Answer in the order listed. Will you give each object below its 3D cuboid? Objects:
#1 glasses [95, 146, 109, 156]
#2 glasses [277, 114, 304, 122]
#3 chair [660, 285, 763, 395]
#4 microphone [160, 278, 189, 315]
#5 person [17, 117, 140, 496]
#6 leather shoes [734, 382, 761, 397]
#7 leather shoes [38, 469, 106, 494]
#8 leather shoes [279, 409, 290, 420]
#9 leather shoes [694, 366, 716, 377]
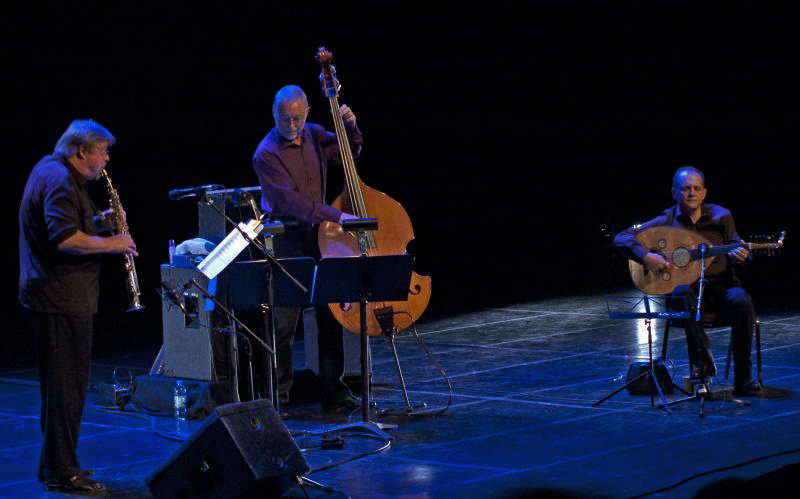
[{"bbox_3d":[-2.253,-0.744,6.624,0.064,0.060,0.019,10,19,-7],"label":"glasses"},{"bbox_3d":[-1.002,-1.183,7.933,0.257,0.043,0.126,-2,-1,0],"label":"glasses"},{"bbox_3d":[3.054,0.801,8.524,0.790,0.876,0.845,0,3,25],"label":"chair"},{"bbox_3d":[-1.957,0.402,7.634,0.121,0.257,0.480,-21,36,-26],"label":"microphone"},{"bbox_3d":[-2.445,0.401,6.575,0.738,2.687,0.432,-3,0,-20],"label":"person"},{"bbox_3d":[3.281,1.315,8.300,0.231,0.123,0.113,-4,4,-6],"label":"leather shoes"},{"bbox_3d":[-2.459,1.733,6.603,0.508,0.190,0.174,0,-2,2],"label":"leather shoes"},{"bbox_3d":[-1.078,1.532,8.172,0.105,0.036,0.146,1,-1,-4],"label":"leather shoes"},{"bbox_3d":[2.863,1.143,8.220,0.202,0.063,0.111,0,-2,12],"label":"leather shoes"}]
